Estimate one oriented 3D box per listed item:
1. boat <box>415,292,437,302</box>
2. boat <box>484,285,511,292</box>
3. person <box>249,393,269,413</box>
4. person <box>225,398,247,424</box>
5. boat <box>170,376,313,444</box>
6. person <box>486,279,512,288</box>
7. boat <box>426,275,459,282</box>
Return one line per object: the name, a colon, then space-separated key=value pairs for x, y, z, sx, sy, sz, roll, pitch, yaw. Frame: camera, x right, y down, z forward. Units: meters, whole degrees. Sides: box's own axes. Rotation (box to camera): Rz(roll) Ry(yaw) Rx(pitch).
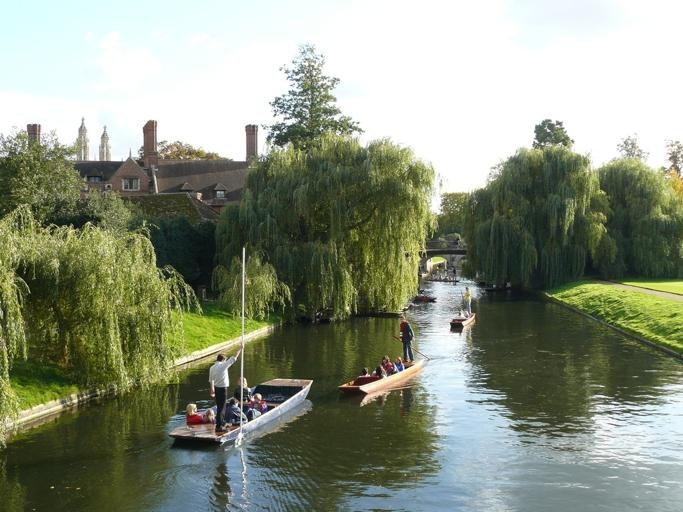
boat: x=6.313 y=3.262 z=62.669 sx=1.658 sy=0.400 sz=2.460 roll=-2 pitch=9 yaw=-10
boat: x=13.868 y=2.990 z=71.773 sx=2.558 sy=0.516 sz=0.715 roll=-3 pitch=4 yaw=1
person: x=-2.975 y=5.320 z=28.744 sx=0.476 sy=0.784 sz=0.263 roll=8 pitch=-1 yaw=19
person: x=-3.633 y=5.266 z=27.125 sx=0.589 sy=0.649 sz=0.741 roll=2 pitch=2 yaw=12
boat: x=-3.035 y=5.525 z=28.110 sx=1.591 sy=0.729 sz=5.096 roll=4 pitch=8 yaw=26
person: x=13.398 y=2.513 z=68.335 sx=0.906 sy=0.593 sz=3.228 roll=5 pitch=5 yaw=27
boat: x=11.969 y=2.740 z=96.977 sx=2.414 sy=0.649 sz=0.657 roll=0 pitch=-1 yaw=29
